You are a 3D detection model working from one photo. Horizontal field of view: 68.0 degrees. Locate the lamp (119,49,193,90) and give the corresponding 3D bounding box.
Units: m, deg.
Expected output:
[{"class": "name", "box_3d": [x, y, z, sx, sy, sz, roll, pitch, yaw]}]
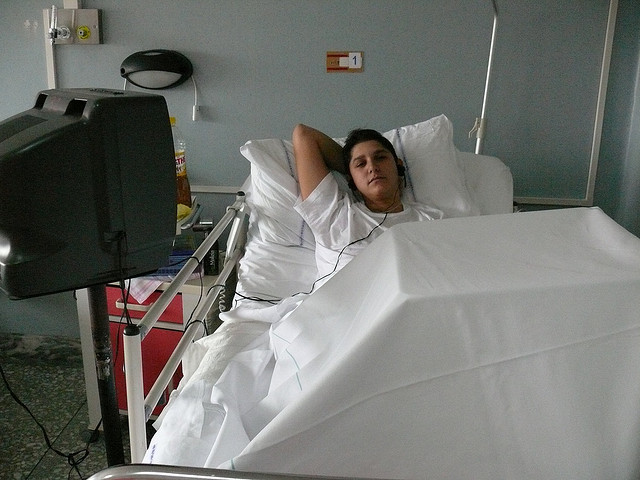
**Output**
[{"class": "lamp", "box_3d": [-0.794, -0.824, 2.316, 0.336, 0.151, 0.131, -5, 13, -16]}]
